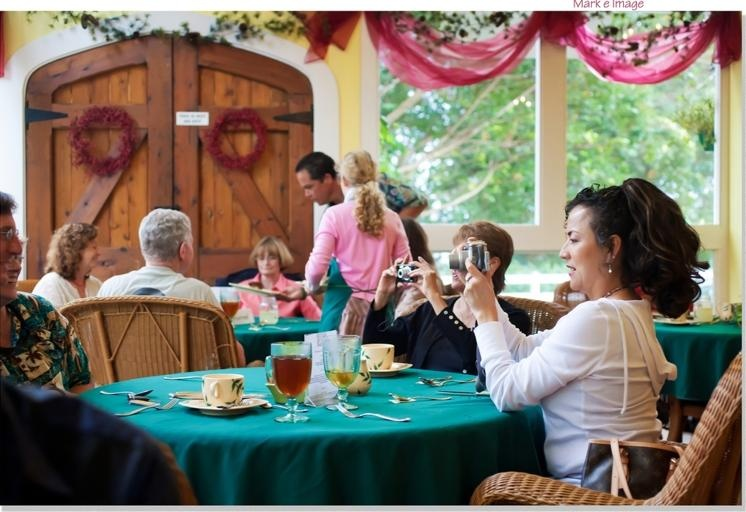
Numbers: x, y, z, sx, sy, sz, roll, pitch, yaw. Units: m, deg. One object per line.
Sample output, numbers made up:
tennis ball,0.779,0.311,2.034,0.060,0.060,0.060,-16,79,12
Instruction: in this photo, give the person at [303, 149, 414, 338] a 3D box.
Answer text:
person,-0.105,0.202,3.924,0.567,1.554,0.528,-5,14,-27

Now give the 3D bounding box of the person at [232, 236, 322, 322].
person,-0.682,0.150,4.700,0.829,0.581,0.312,1,2,16

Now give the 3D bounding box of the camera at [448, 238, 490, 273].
camera,0.367,0.006,2.590,0.126,0.102,0.169,-2,-2,3

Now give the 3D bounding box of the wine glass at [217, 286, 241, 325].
wine glass,-0.828,0.292,3.967,0.134,0.212,0.138,0,8,18

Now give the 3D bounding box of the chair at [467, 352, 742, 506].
chair,0.748,0.546,2.090,0.601,0.622,0.518,5,-8,38

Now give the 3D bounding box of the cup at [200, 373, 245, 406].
cup,-0.467,0.423,2.126,0.130,0.106,0.156,1,4,-2

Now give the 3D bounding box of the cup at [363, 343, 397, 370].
cup,0.023,0.374,2.573,0.099,0.075,0.091,-2,0,0

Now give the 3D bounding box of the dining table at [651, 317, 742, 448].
dining table,1.629,0.689,3.891,0.660,0.653,0.656,0,-6,6

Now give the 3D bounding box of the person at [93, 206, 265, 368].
person,-1.016,0.180,3.397,0.944,0.814,0.508,2,4,13

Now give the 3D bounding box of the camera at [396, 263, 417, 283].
camera,0.137,0.071,2.885,0.083,0.082,0.044,-2,2,-2

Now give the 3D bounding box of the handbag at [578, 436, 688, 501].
handbag,0.799,0.639,2.086,0.241,0.093,0.181,3,-3,-13
